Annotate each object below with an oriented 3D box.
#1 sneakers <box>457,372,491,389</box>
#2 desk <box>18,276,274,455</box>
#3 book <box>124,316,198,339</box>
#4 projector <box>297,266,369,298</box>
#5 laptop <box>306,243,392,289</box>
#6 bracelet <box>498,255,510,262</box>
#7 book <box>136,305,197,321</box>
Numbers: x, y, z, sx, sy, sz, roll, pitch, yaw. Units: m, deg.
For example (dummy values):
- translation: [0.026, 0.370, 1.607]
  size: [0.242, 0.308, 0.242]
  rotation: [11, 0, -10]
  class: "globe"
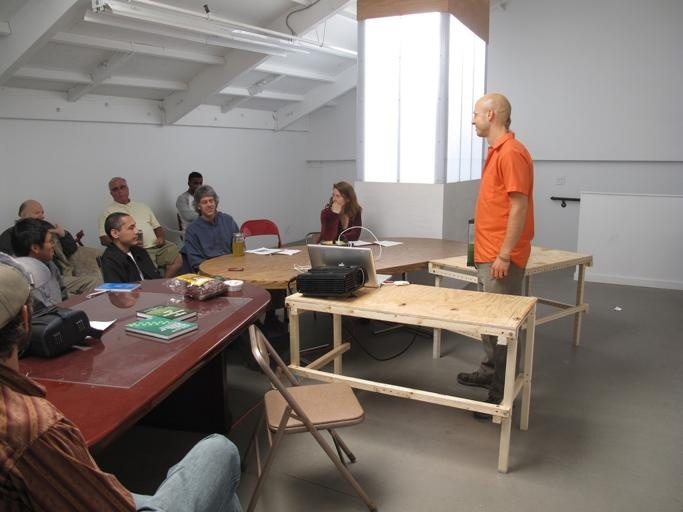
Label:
- translation: [0.927, 0.848, 3.200]
  size: [0.233, 0.111, 0.088]
  rotation: [7, 17, 22]
  class: "sneakers"
- translation: [-0.846, 0.485, 2.019]
  size: [0.531, 0.425, 0.846]
  rotation: [12, 20, 21]
  class: "desk"
- translation: [-0.827, 0.324, 2.066]
  size: [0.179, 0.019, 0.135]
  rotation: [6, 8, 33]
  class: "book"
- translation: [-0.063, 0.149, 2.611]
  size: [0.223, 0.107, 0.236]
  rotation: [1, 13, 17]
  class: "projector"
- translation: [0.010, 0.009, 2.714]
  size: [0.338, 0.218, 0.283]
  rotation: [3, 8, 30]
  class: "laptop"
- translation: [0.985, 0.016, 2.744]
  size: [0.062, 0.040, 0.034]
  rotation: [2, 14, 10]
  class: "bracelet"
- translation: [-0.862, 0.280, 2.241]
  size: [0.159, 0.023, 0.115]
  rotation: [7, 13, 16]
  class: "book"
